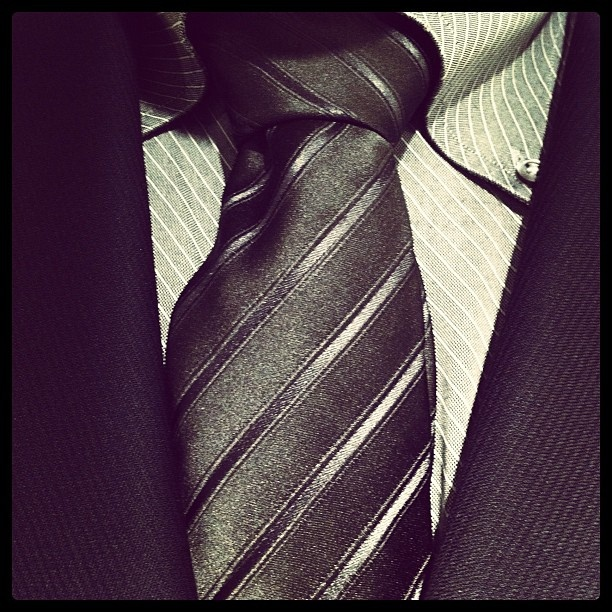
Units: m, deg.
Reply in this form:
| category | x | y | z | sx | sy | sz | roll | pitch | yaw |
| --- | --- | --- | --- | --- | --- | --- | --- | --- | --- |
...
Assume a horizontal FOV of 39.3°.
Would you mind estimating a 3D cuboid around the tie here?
| category | x | y | z | sx | sy | sz | roll | pitch | yaw |
| --- | --- | --- | --- | --- | --- | --- | --- | --- | --- |
| tie | -0.004 | -0.015 | 0.511 | 0.161 | 0.328 | 0.182 | 2 | 12 | -1 |
